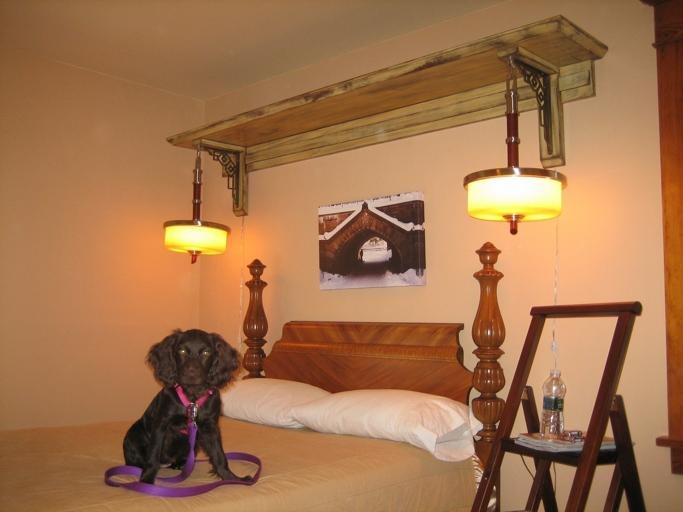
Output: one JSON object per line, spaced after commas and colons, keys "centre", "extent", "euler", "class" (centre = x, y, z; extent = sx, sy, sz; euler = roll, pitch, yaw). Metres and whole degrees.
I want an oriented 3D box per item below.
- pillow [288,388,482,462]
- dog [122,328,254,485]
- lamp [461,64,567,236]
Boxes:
{"centre": [0.227, 0.858, 3.215], "extent": [0.683, 0.184, 0.400], "euler": [-1, 1, 35], "class": "pillow"}
{"centre": [-0.689, 0.665, 2.630], "extent": [0.506, 0.668, 0.390], "euler": [-1, 3, -21], "class": "dog"}
{"centre": [0.940, -0.521, 3.534], "extent": [0.723, 1.205, 0.731], "euler": [1, -2, 20], "class": "lamp"}
